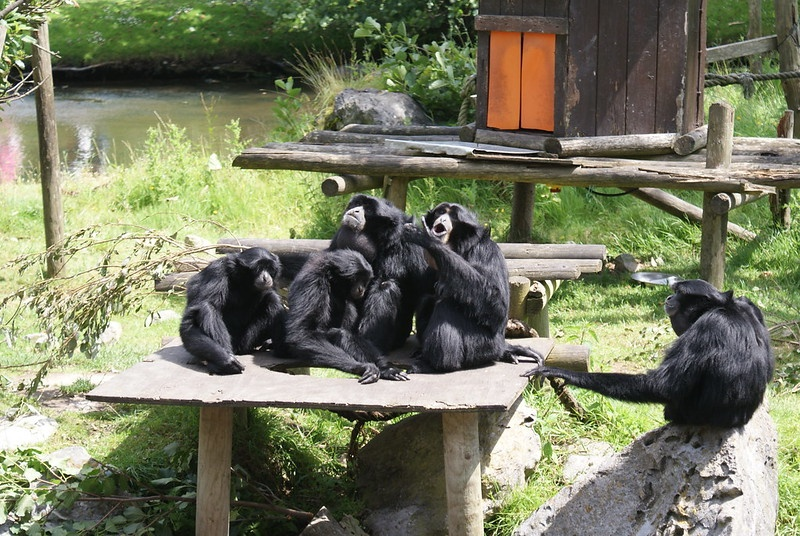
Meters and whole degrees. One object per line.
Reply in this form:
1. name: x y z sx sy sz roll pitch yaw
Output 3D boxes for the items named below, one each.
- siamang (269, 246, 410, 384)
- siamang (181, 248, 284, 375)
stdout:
1. siamang: -0.583 0.453 9.213 1.061 1.196 0.663 1 9 14
2. siamang: -1.664 0.381 9.655 1.401 1.127 1.365 -1 3 -34
